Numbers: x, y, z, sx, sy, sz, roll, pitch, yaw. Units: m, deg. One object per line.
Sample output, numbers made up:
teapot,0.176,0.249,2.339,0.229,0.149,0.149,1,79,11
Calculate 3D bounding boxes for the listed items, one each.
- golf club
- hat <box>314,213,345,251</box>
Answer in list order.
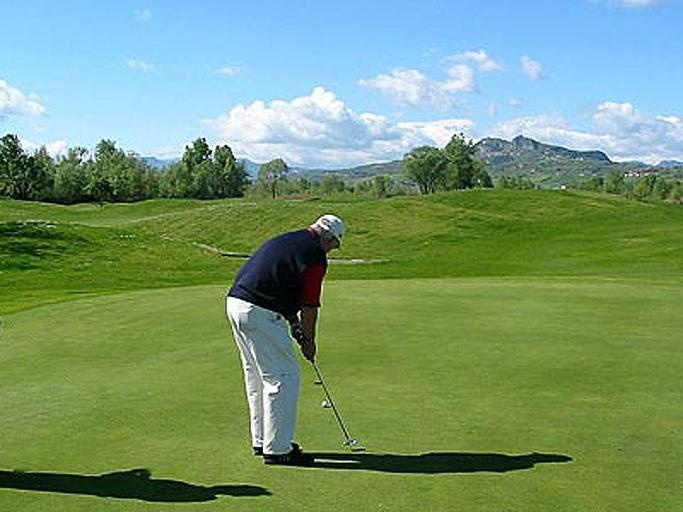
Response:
golf club,-0.246,1.961,10.283,0.168,1.551,0.223,-20,-2,-39
hat,-0.136,-0.328,9.350,0.440,0.406,0.328,5,8,3
